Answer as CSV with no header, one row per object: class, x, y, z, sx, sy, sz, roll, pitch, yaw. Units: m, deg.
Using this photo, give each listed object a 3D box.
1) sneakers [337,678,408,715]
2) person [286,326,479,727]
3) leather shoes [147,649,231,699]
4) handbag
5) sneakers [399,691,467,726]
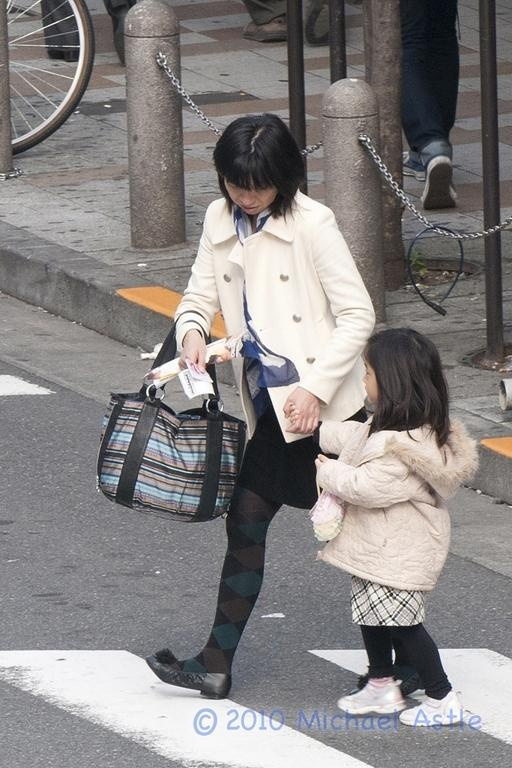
sneakers,0.294,0.772,2.413,0.201,0.092,0.078,-1,7,8
person,0.315,0.363,2.240,0.377,0.977,0.342,2,10,9
leather shoes,-0.168,0.735,2.493,0.220,0.080,0.099,10,4,16
handbag,-0.204,0.183,2.388,0.378,0.336,0.237,-1,9,-10
sneakers,0.409,0.789,2.346,0.197,0.079,0.070,-2,11,1
